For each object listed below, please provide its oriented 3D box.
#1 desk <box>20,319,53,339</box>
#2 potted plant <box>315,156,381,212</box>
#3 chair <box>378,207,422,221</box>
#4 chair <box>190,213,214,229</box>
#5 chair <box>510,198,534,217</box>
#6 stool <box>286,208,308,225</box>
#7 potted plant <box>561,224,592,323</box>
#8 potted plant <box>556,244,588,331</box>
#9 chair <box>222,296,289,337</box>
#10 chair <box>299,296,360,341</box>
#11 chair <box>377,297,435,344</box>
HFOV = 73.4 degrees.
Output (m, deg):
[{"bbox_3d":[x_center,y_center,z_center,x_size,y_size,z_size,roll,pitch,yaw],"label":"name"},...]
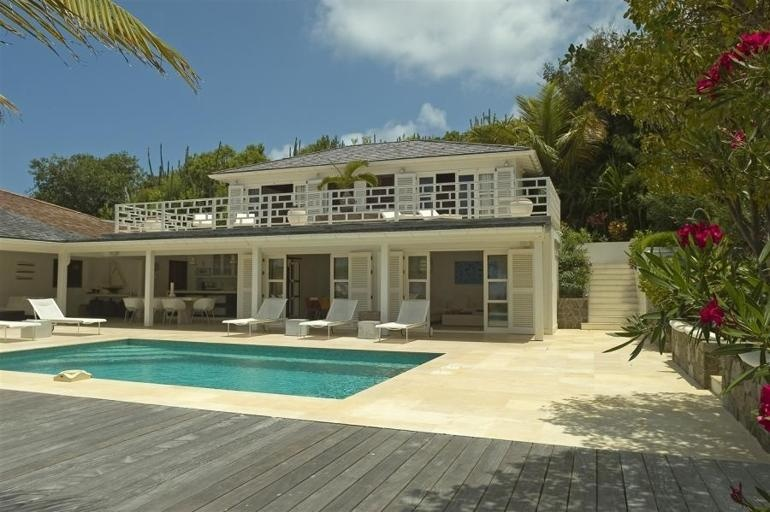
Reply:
[{"bbox_3d":[-9.191,1.925,13.698,0.634,0.370,0.554,-1,-5,2],"label":"desk"},{"bbox_3d":[-1.218,-2.599,19.178,2.064,1.813,2.287,0,1,-36],"label":"potted plant"},{"bbox_3d":[0.277,-1.268,16.463,0.841,0.357,1.825,1,-1,-32],"label":"chair"},{"bbox_3d":[-6.424,-1.243,18.311,0.784,0.370,0.719,0,-1,21],"label":"chair"},{"bbox_3d":[3.666,-1.333,14.306,0.640,0.346,0.566,0,-6,-2],"label":"chair"},{"bbox_3d":[-2.978,-1.317,17.290,0.729,0.461,0.636,-1,-7,-6],"label":"stool"},{"bbox_3d":[6.269,0.721,17.690,1.316,3.029,0.970,-2,-3,26],"label":"potted plant"},{"bbox_3d":[6.190,1.076,17.281,0.970,2.481,2.066,0,0,19],"label":"potted plant"},{"bbox_3d":[-3.791,1.757,15.195,0.951,0.684,1.810,1,1,28],"label":"chair"},{"bbox_3d":[-1.586,1.713,14.931,0.934,0.779,1.611,-3,-7,28],"label":"chair"},{"bbox_3d":[0.368,1.632,13.911,0.942,0.744,1.535,-3,-6,28],"label":"chair"}]
